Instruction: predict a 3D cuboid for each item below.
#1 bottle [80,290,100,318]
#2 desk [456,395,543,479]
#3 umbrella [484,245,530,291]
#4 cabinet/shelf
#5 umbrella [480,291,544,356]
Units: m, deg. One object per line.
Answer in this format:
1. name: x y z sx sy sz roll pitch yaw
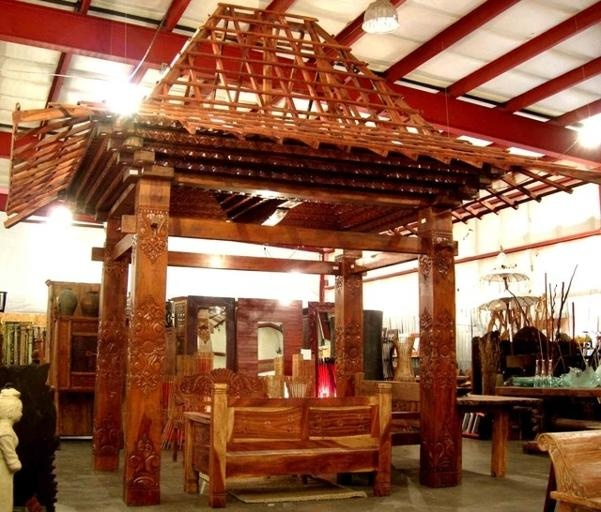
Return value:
1. bottle: -3.809 0.881 9.415 0.467 0.514 0.461 5 -11 -24
2. desk: 2.179 2.295 6.425 0.926 0.829 0.951 -3 -19 18
3. umbrella: 5.252 0.360 13.173 1.330 1.271 1.227 -2 -2 -5
4. cabinet/shelf: -4.140 1.913 9.380 0.874 2.905 1.200 4 -7 -24
5. umbrella: 5.158 1.327 12.899 1.140 1.019 1.046 -16 14 -19
